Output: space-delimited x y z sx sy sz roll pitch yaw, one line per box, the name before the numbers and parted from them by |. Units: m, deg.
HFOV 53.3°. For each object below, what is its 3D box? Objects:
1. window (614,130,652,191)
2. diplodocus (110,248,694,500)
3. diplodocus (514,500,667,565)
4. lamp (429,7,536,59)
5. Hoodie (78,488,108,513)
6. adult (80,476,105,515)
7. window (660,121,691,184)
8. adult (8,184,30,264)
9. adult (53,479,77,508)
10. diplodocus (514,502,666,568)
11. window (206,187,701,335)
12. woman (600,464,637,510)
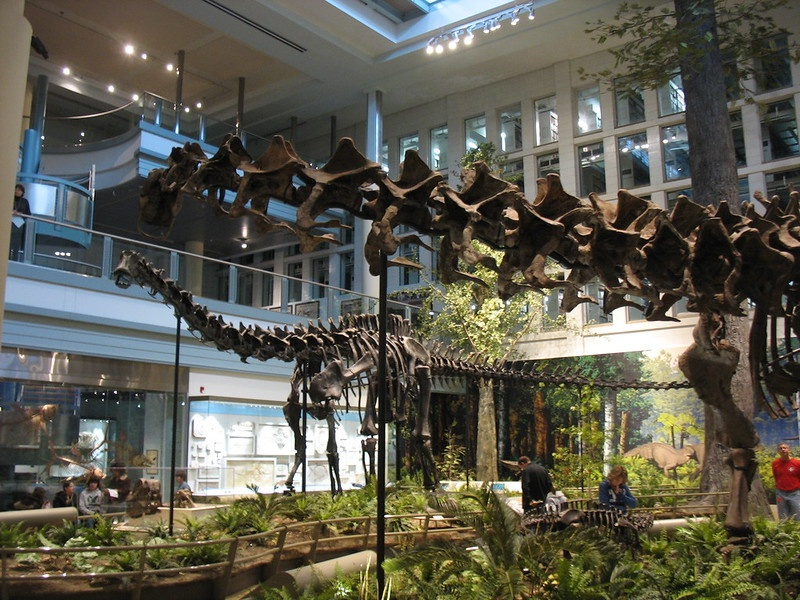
window | 7.115 -4.117 24.022 1.199 0.170 2.089 -4 -52 17
diplodocus | -0.060 1.421 13.284 8.367 3.018 1.927 6 -39 -6
diplodocus | 2.442 2.996 10.553 2.138 0.726 0.740 3 -11 -24
lamp | 2.260 -7.441 22.376 3.343 0.810 1.241 -10 -13 36
Hoodie | -4.989 3.223 12.914 0.448 0.499 0.349 12 -30 -44
adult | -4.956 3.175 12.882 0.555 0.649 0.526 4 -15 -27
window | 8.048 -4.321 23.275 1.050 1.785 0.156 -8 23 14
adult | -6.840 -1.476 14.356 0.296 1.618 1.145 3 -12 -25
adult | -5.509 3.165 13.084 0.367 0.402 1.034 2 -11 -23
diplodocus | 2.462 3.100 10.762 2.135 0.741 0.607 -8 6 29
window | 1.756 -0.474 8.319 3.201 1.383 0.673 0 -11 -11
woman | 3.197 2.809 11.774 0.543 0.654 0.428 2 -3 -13
